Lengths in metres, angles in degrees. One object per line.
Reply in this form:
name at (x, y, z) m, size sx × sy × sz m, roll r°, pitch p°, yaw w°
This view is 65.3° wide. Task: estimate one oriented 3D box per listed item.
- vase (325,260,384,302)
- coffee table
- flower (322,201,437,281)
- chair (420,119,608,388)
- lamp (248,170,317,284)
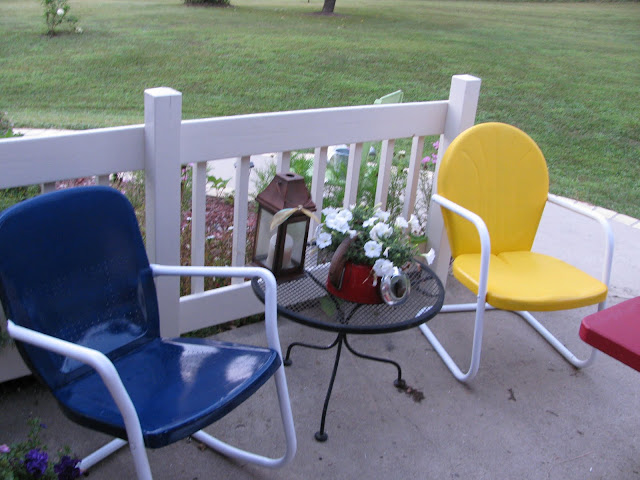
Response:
vase at (0.135, 0.125, 1.809) m, size 0.133 × 0.107 × 0.138 m, roll 11°, pitch 10°, yaw 35°
coffee table at (0.108, 0.401, 2.178) m, size 0.762 × 0.575 × 0.761 m, roll -18°, pitch 34°, yaw -39°
flower at (0.181, -0.005, 1.868) m, size 0.344 × 0.230 × 0.272 m, roll 15°, pitch 31°, yaw 21°
chair at (0.868, 0.040, 2.279) m, size 0.822 × 1.090 × 0.831 m, roll -12°, pitch 18°, yaw -42°
lamp at (-0.142, -0.064, 1.937) m, size 0.214 × 0.378 × 0.222 m, roll 23°, pitch 26°, yaw 30°
